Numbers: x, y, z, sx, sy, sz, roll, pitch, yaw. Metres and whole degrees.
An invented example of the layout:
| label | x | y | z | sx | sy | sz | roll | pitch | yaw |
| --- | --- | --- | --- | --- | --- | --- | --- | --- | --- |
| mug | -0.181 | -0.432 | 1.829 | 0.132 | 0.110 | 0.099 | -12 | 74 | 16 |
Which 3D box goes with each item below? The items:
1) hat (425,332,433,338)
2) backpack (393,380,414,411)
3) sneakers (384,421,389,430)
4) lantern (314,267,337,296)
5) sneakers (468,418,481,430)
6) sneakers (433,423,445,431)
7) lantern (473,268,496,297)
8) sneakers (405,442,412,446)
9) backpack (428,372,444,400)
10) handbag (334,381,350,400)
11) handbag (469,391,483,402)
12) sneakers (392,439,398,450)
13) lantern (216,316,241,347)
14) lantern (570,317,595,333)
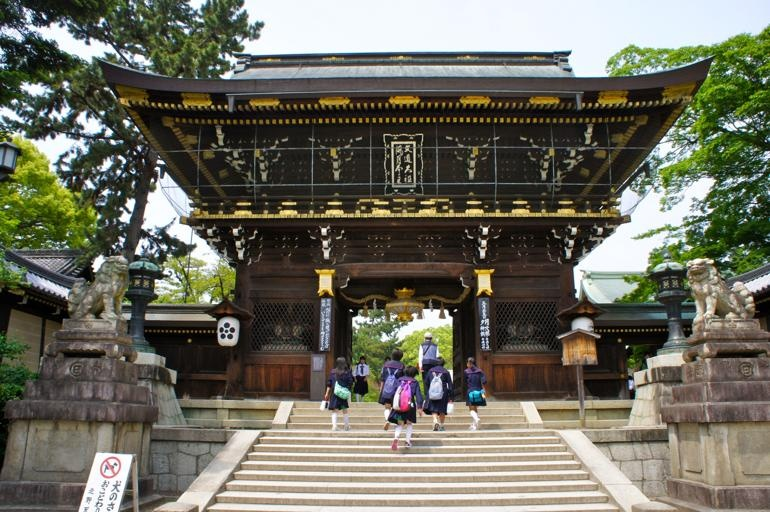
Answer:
| label | x | y | z | sx | sy | sz | roll | pitch | yaw |
| --- | --- | --- | --- | --- | --- | --- | --- | --- | --- |
| hat | 1.149 | 2.162 | 17.215 | 0.278 | 0.103 | 0.373 | 2 | -5 | 1 |
| backpack | 0.444 | 3.343 | 15.158 | 0.583 | 0.662 | 0.383 | -8 | -32 | 30 |
| sneakers | 0.034 | 4.257 | 15.932 | 0.124 | 0.240 | 0.104 | 2 | 29 | -2 |
| lantern | -1.918 | 0.871 | 20.676 | 0.854 | 0.951 | 0.803 | -2 | -9 | 3 |
| sneakers | 2.346 | 4.459 | 16.723 | 0.192 | 0.185 | 0.445 | 2 | -38 | -3 |
| sneakers | 1.371 | 4.440 | 16.517 | 0.150 | 0.167 | 0.382 | 7 | -20 | -20 |
| lantern | 3.161 | 0.857 | 20.637 | 0.553 | 0.857 | 0.393 | 1 | 13 | -3 |
| sneakers | 0.527 | 4.523 | 15.329 | 0.115 | 0.098 | 0.184 | -3 | -8 | 21 |
| backpack | 1.291 | 3.305 | 16.092 | 0.334 | 0.656 | 0.311 | 8 | 15 | 24 |
| handbag | -1.126 | 3.432 | 16.307 | 0.443 | 0.291 | 0.168 | 26 | -14 | -7 |
| handbag | 2.365 | 3.684 | 16.739 | 0.395 | 0.311 | 0.272 | -2 | -17 | 2 |
| sneakers | 0.232 | 4.517 | 15.278 | 0.139 | 0.290 | 0.127 | 4 | 27 | 2 |
| lantern | -4.934 | 2.420 | 20.249 | 0.706 | 1.057 | 0.457 | -2 | 14 | -14 |
| lantern | 6.056 | 2.121 | 19.936 | 0.690 | 0.587 | 0.631 | -12 | -18 | 37 |
